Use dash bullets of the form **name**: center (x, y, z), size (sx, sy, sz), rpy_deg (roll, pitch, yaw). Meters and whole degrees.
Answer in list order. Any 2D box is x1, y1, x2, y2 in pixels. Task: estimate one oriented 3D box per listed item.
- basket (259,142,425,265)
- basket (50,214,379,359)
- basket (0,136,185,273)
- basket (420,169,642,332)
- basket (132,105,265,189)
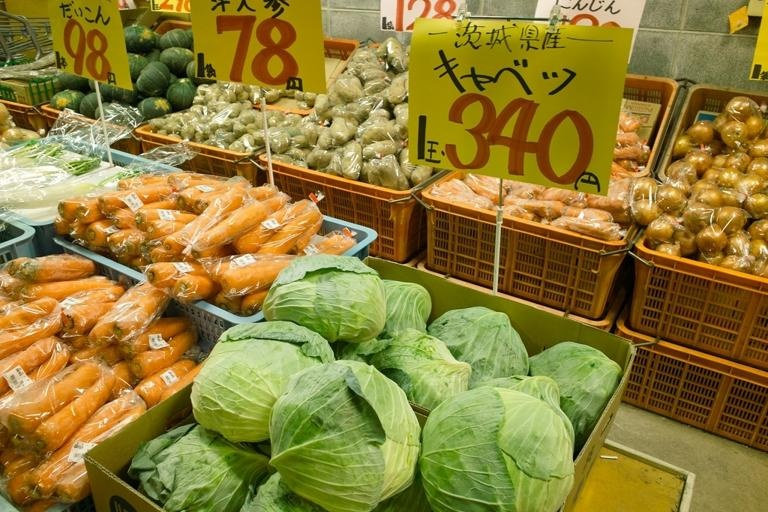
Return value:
- **basket**: center (-0.262, -0.357, 3.576), size (1.038, 0.416, 0.708), rpy_deg (24, 39, 28)
- **basket**: center (-0.824, 0.064, 2.451), size (0.830, 0.433, 1.320), rpy_deg (24, 35, 31)
- **basket**: center (-1.814, -0.312, 3.020), size (0.614, 0.309, 0.947), rpy_deg (27, 40, 26)
- **basket**: center (0.967, -0.003, 3.244), size (1.235, 0.545, 0.842), rpy_deg (19, 38, 24)
- **basket**: center (-1.542, -0.887, 3.818), size (0.967, 0.321, 0.620), rpy_deg (26, 43, 28)
